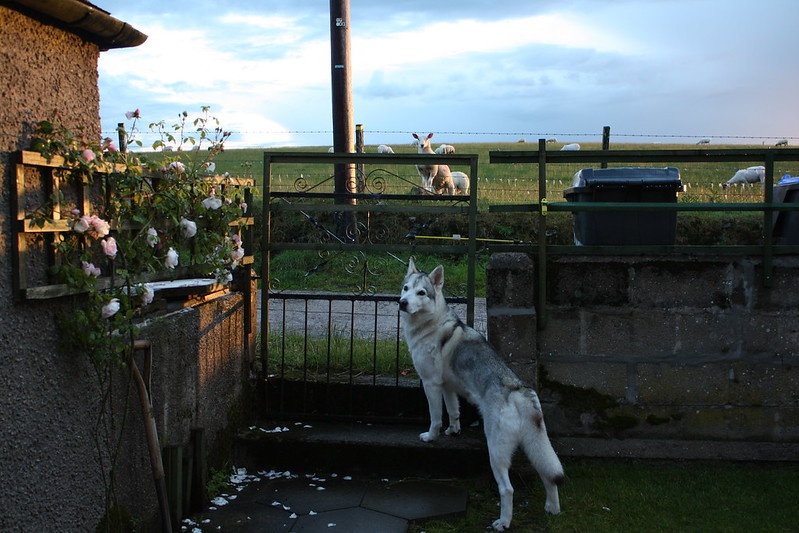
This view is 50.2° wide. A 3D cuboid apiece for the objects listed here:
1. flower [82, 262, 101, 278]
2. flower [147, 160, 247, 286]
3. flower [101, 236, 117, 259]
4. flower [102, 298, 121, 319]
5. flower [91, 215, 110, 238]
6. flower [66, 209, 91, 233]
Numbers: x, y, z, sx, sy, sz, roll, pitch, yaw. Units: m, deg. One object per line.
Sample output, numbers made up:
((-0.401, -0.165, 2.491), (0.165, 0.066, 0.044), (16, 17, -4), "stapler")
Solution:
((-2.167, 0.026, 5.984), (0.083, 0.132, 0.066), (-18, -9, -32), "flower")
((-1.705, -0.337, 7.098), (1.188, 1.070, 0.485), (-9, 24, -30), "flower")
((-2.070, -0.135, 6.042), (0.093, 0.160, 0.214), (-4, 7, -20), "flower")
((-2.038, 0.286, 5.998), (0.052, 0.122, 0.137), (22, 22, -5), "flower")
((-2.117, -0.281, 6.010), (0.116, 0.163, 0.234), (-3, 7, -18), "flower")
((-2.233, -0.335, 5.923), (0.130, 0.173, 0.084), (-31, -21, -26), "flower")
